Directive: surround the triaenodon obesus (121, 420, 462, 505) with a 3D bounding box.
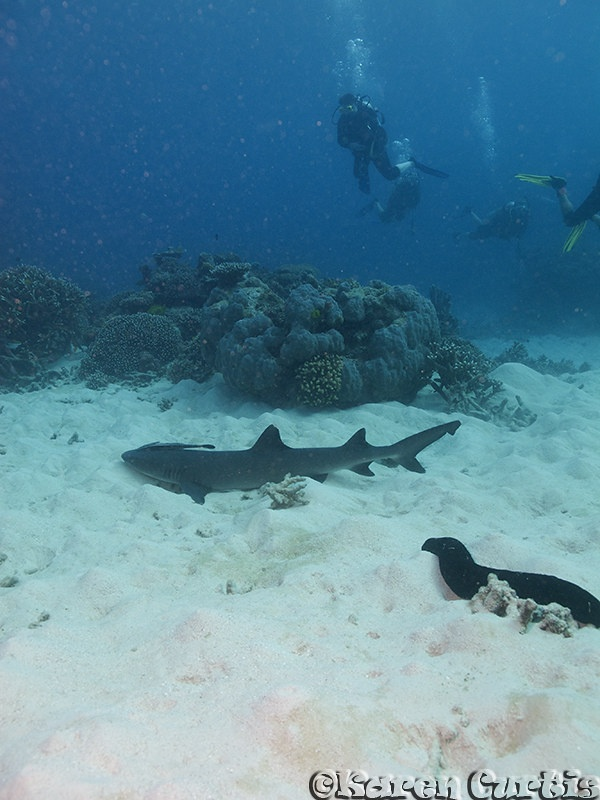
[{"bbox_3d":[-0.277,0.551,7.410,3.052,0.673,0.950,-3,14,-11],"label":"triaenodon obesus"}]

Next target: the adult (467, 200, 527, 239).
[{"bbox_3d":[5.490,-4.939,19.812,1.199,1.031,3.469,2,14,6],"label":"adult"}]

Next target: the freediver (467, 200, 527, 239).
[{"bbox_3d":[5.490,-4.939,19.812,1.199,1.031,3.469,2,14,6],"label":"freediver"}]
